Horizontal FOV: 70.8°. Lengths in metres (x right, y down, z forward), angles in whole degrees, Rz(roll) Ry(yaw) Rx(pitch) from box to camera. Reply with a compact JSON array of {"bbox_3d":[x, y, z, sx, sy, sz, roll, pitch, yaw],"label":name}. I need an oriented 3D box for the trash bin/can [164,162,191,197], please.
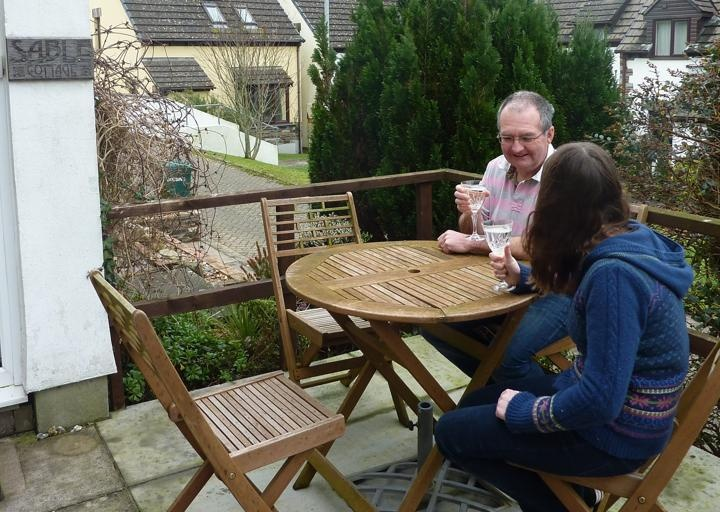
[{"bbox_3d":[-1.598,-0.673,4.419,0.216,0.230,0.369,-3,-2,-10],"label":"trash bin/can"}]
